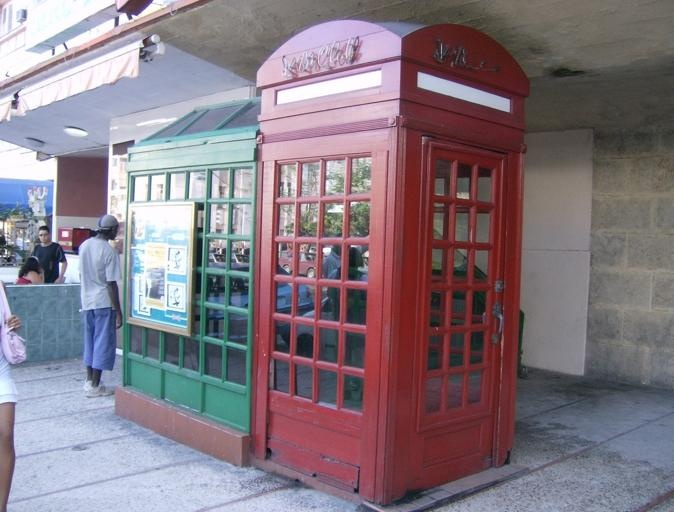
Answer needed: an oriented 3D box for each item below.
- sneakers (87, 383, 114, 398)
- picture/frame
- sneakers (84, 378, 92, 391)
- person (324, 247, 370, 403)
[{"bbox_3d":[-2.847,1.619,6.997,0.301,0.122,0.126,-4,7,-43],"label":"sneakers"},{"bbox_3d":[-1.756,0.130,5.922,0.068,1.465,1.390,3,3,-42],"label":"picture/frame"},{"bbox_3d":[-2.985,1.551,6.975,0.086,0.083,0.197,9,-1,-20],"label":"sneakers"},{"bbox_3d":[0.055,0.560,4.674,0.104,1.273,0.445,-4,7,-42],"label":"person"}]
